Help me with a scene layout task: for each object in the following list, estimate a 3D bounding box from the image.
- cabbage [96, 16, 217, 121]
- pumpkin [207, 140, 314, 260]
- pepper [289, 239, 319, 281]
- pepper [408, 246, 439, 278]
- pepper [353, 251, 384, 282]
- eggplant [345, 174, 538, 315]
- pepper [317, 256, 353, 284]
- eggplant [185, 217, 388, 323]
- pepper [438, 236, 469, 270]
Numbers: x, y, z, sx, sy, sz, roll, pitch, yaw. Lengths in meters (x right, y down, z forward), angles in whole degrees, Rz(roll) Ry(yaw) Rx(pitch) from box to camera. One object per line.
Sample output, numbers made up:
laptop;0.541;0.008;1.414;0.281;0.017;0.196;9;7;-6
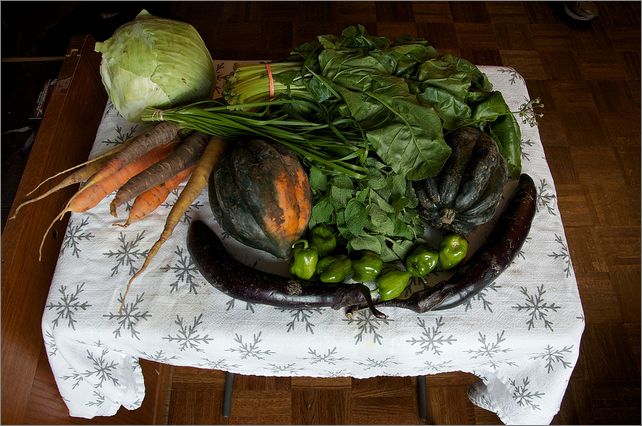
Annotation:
cabbage;-0.580;-0.511;1.847;0.367;0.205;0.307;-23;72;-12
pumpkin;-0.204;-0.049;1.805;0.310;0.253;0.377;-34;93;-6
pepper;-0.051;0.156;1.721;0.092;0.088;0.130;13;102;31
pepper;0.329;0.158;1.728;0.112;0.089;0.107;-2;96;-2
pepper;0.156;0.179;1.744;0.105;0.088;0.096;-10;46;7
eggplant;0.448;0.170;1.751;0.715;0.144;0.256;-45;77;6
pepper;0.042;0.186;1.695;0.103;0.046;0.077;-24;79;-9
eggplant;-0.101;0.191;1.683;0.267;0.140;0.329;-23;39;-30
pepper;0.427;0.126;1.756;0.084;0.076;0.110;28;91;7
